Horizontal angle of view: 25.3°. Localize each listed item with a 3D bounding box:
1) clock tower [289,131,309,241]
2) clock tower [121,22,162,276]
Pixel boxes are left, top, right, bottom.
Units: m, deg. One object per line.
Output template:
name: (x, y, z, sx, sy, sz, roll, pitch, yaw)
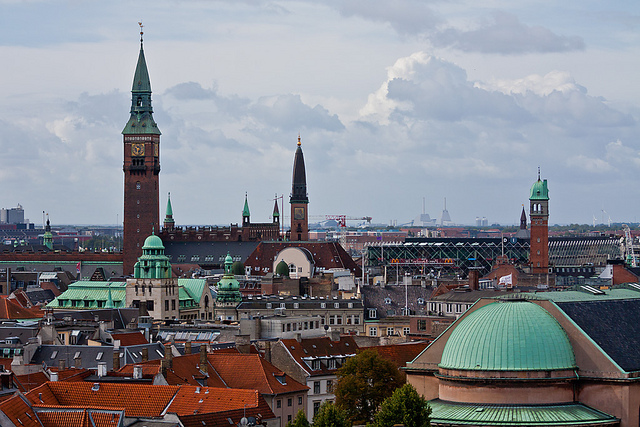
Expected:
clock tower: (-3.122, -3.571, 220.338, 2.493, 14.996, 4.178, 0, -2, -1)
clock tower: (-26.320, -6.708, 210.532, 5.130, 31.091, 5.255, 0, -2, -7)
